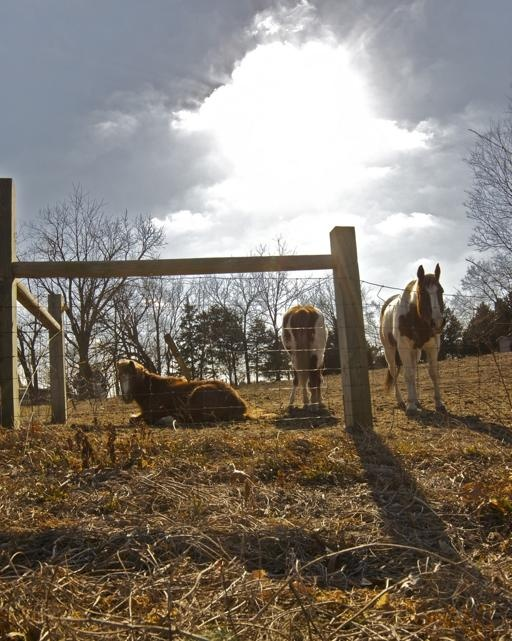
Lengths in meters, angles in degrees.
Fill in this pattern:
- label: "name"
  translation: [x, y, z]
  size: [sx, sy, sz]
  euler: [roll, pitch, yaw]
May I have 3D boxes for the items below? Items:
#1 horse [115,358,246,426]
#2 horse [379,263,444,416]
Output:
- label: "horse"
  translation: [-0.958, 0.967, 7.655]
  size: [1.834, 0.847, 0.605]
  euler: [2, -9, 12]
- label: "horse"
  translation: [2.066, 0.226, 7.738]
  size: [0.812, 1.510, 2.503]
  euler: [-6, -3, 13]
